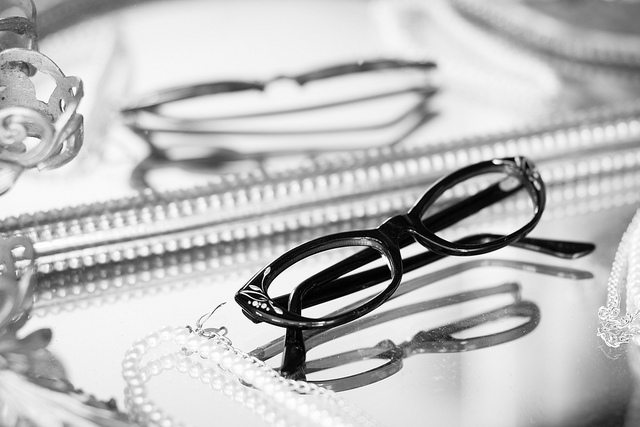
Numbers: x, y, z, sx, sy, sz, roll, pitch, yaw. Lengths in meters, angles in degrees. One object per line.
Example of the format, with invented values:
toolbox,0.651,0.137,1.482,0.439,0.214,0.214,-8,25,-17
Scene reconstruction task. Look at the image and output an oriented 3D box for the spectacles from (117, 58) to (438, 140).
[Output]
spectacles,-0.040,-0.119,0.794,0.335,0.074,0.011,-4,5,-7
